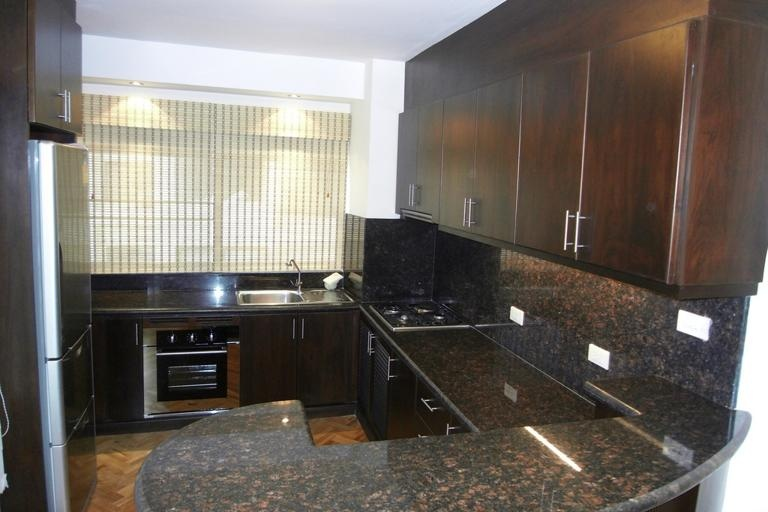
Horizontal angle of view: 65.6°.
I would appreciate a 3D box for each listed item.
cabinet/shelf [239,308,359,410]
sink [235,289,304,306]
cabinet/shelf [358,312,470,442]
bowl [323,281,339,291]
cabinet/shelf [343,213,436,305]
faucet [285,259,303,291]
[{"bbox_3d":[-0.746,0.824,4.955,0.935,0.745,0.350,-1,4,-18],"label":"cabinet/shelf"},{"bbox_3d":[-1.028,0.389,5.389,0.584,0.115,0.305,-1,14,-13],"label":"sink"},{"bbox_3d":[0.226,0.824,4.114,0.377,0.584,1.045,0,8,-12],"label":"cabinet/shelf"},{"bbox_3d":[-0.495,0.269,5.620,0.142,0.096,0.107,-1,14,-12],"label":"bowl"},{"bbox_3d":[0.010,-0.002,5.607,0.765,0.725,0.778,-1,8,-11],"label":"cabinet/shelf"},{"bbox_3d":[-0.820,0.167,5.569,0.132,0.298,0.219,-4,15,-23],"label":"faucet"}]
